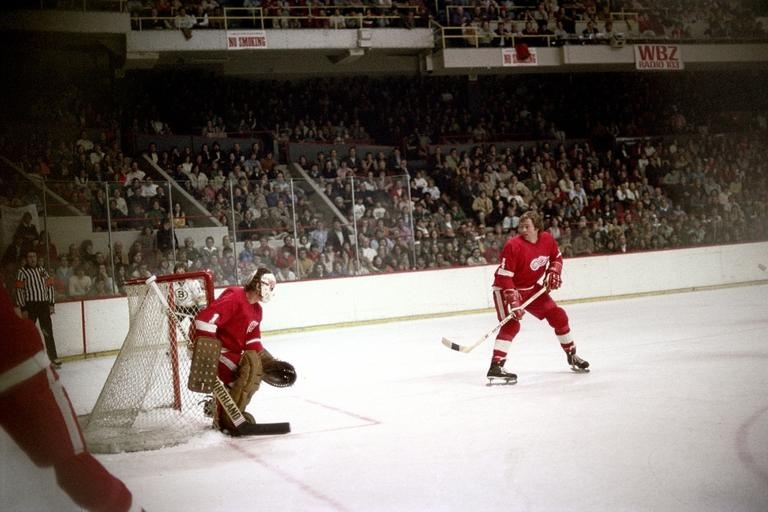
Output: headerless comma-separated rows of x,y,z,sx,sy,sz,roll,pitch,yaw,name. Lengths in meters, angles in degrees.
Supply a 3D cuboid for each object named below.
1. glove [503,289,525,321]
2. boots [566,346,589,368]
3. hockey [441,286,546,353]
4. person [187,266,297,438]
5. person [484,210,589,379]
1.787,0.643,10.042,0.265,0.451,0.371,-2,12,8,glove
2.708,1.415,10.138,0.316,0.345,0.249,0,12,14,boots
1.853,1.118,12.488,1.478,0.271,0.154,-40,25,11,hockey
-1.745,1.159,8.782,1.290,2.049,1.047,16,-18,-40,person
2.031,0.530,10.182,1.519,2.261,0.988,-7,12,-20,person
